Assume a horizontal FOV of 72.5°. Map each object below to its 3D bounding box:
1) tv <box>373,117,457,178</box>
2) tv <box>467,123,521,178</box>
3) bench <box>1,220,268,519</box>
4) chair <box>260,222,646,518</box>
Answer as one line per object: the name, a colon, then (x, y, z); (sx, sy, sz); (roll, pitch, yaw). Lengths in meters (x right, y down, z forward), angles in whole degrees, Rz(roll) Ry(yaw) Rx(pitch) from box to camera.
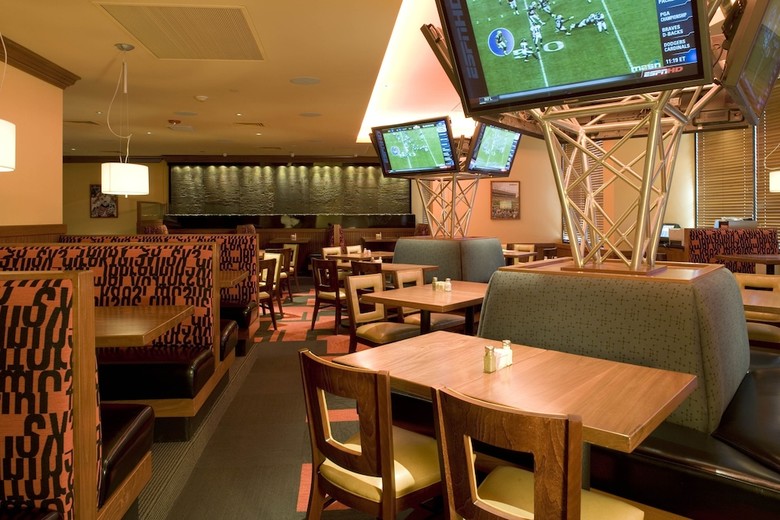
tv: (0.325, -1.472, 7.040); (1.242, 0.702, 0.056); (4, 27, 41)
tv: (1.467, -1.509, 7.248); (0.100, 0.630, 1.116); (8, 13, -23)
bench: (-1.888, 0.798, 4.355); (2.291, 1.370, 1.618); (-1, -1, 11)
chair: (0.106, 0.818, 3.179); (0.763, 1.371, 2.066); (-3, 2, -34)
